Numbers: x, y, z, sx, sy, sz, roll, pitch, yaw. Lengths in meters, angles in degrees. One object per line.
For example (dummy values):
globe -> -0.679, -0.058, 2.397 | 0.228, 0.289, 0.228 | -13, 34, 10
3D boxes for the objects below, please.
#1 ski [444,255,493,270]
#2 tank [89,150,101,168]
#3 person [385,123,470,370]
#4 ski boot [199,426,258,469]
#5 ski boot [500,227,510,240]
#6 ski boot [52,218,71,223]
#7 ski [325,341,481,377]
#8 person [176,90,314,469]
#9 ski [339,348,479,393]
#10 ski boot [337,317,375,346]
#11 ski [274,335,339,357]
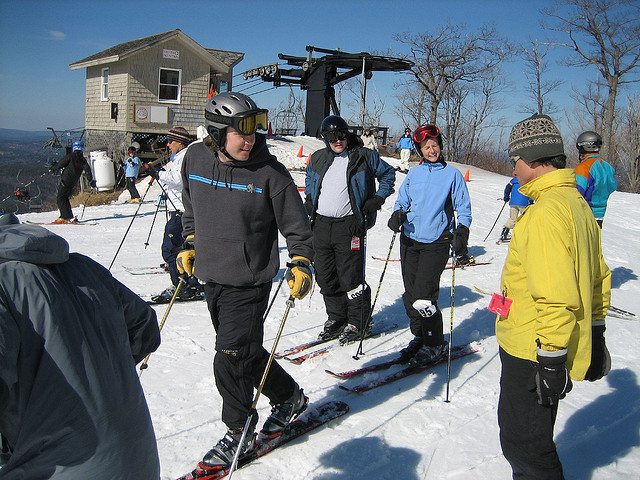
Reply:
ski -> 2.534, 0.391, 8.442 | 1.022, 0.155, 0.181 | -9, -26, -8
tank -> -9.845, -3.564, 21.607 | 0.284, 0.648, 1.137 | -8, 14, -32
person -> 1.130, 0.037, 5.050 | 0.747, 2.371, 0.883 | 1, 12, 10
ski boot -> -0.603, 1.395, 3.399 | 0.178, 0.262, 0.526 | -1, -3, 34
ski boot -> 4.270, -0.151, 11.394 | 0.103, 0.270, 0.334 | 7, -32, 1
ski boot -> -6.489, -0.500, 12.446 | 0.360, 0.107, 0.291 | -9, 15, -32
ski -> 0.830, 1.212, 5.001 | 1.783, 0.148, 0.210 | -7, 16, -30
person -> -0.502, 0.262, 3.603 | 1.129, 2.585, 1.093 | -3, 6, -37
ski -> 0.903, 1.259, 4.815 | 1.663, 0.115, 0.163 | -9, 14, -31
ski boot -> 0.352, 1.038, 5.553 | 0.512, 0.257, 0.168 | -3, 1, -36
ski -> -0.092, 1.081, 5.337 | 0.146, 0.059, 1.122 | 15, 10, 35
